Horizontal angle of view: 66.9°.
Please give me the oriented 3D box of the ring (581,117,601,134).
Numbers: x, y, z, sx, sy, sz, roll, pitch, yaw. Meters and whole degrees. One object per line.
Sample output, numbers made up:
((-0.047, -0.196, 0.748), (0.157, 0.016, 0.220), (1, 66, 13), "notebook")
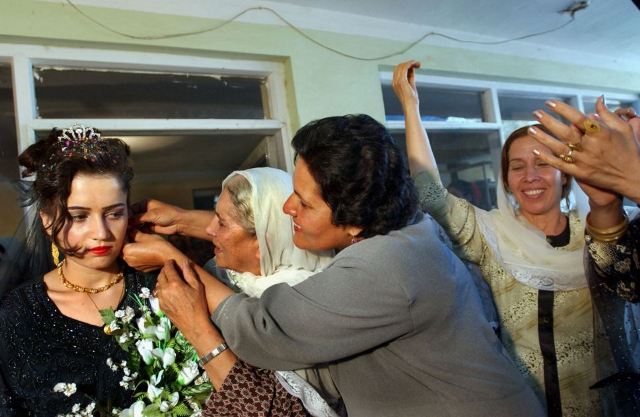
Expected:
((1.047, -0.315, 1.877), (0.055, 0.065, 0.028), (-35, -29, -8), "ring")

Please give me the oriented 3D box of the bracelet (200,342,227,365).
((-0.462, 0.627, 2.107), (0.097, 0.028, 0.101), (-32, -4, -12), "bracelet")
